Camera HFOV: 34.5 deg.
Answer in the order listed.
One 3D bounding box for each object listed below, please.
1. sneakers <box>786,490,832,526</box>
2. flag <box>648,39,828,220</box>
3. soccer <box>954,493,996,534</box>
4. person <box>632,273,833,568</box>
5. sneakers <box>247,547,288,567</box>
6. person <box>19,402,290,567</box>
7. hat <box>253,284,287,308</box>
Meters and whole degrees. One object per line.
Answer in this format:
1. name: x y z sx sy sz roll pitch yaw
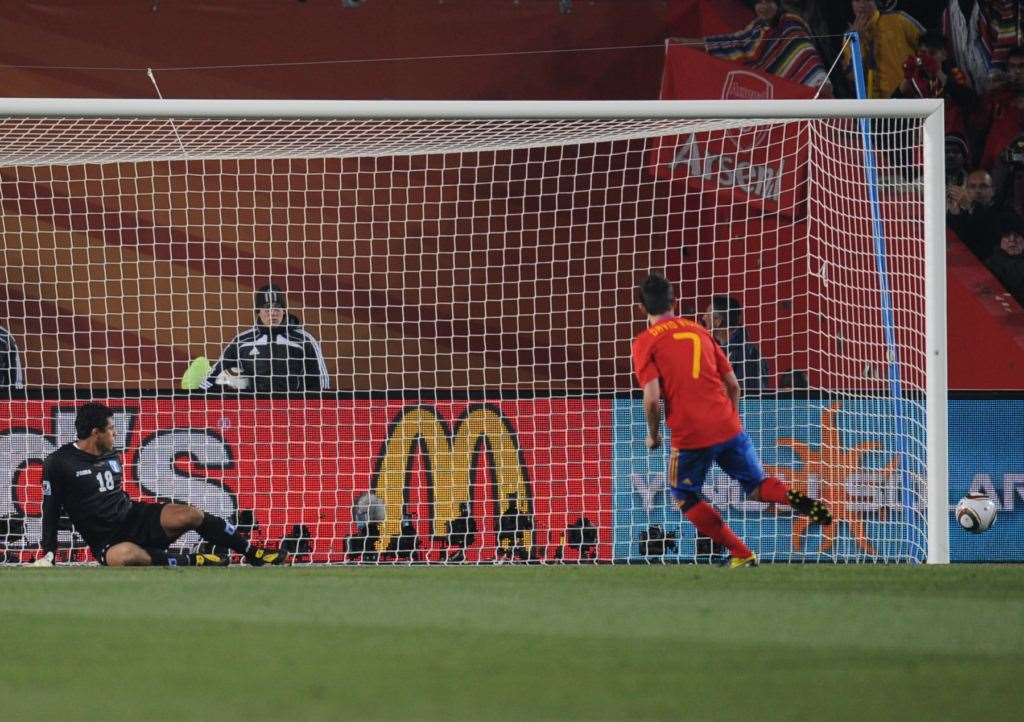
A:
1. sneakers: 1.932 0.978 10.871 0.334 0.161 0.137 29 3 -5
2. flag: 1.924 -1.822 13.823 1.733 1.545 0.430 7 5 -19
3. soccer: 3.043 1.021 10.961 0.229 0.244 0.234 1 -9 -1
4. person: 1.271 0.541 10.989 0.921 1.646 0.236 0 -9 1
5. sneakers: -1.668 1.377 11.389 0.320 0.140 0.113 -3 5 -11
6. person: -2.462 0.921 11.658 1.641 1.047 1.025 1 -2 1
7. hat: -1.775 -0.469 12.288 0.270 0.199 0.188 -5 -4 0
